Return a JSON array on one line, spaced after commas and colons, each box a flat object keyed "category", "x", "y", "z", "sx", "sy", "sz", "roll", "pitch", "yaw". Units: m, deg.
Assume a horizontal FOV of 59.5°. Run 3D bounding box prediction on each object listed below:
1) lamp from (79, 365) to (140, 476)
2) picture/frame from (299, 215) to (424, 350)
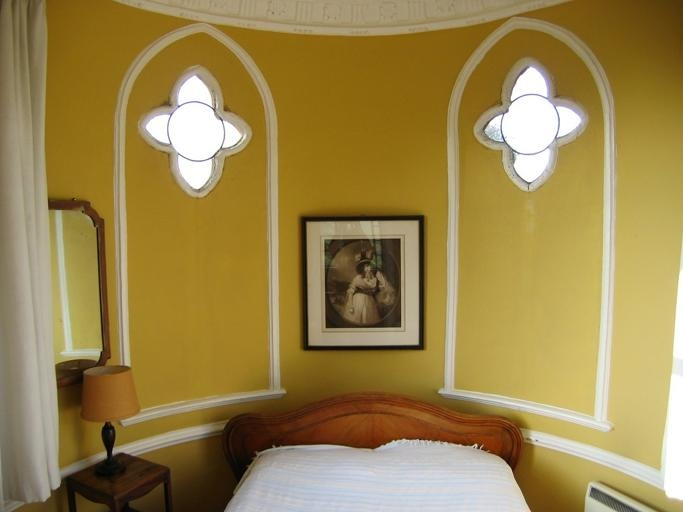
[{"category": "lamp", "x": -1.684, "y": 1.177, "z": 4.285, "sx": 0.377, "sy": 0.804, "sz": 0.400, "roll": -1, "pitch": 0, "yaw": -37}, {"category": "picture/frame", "x": 0.209, "y": 0.203, "z": 5.007, "sx": 0.987, "sy": 1.218, "sz": 0.060, "roll": 0, "pitch": 4, "yaw": 0}]
